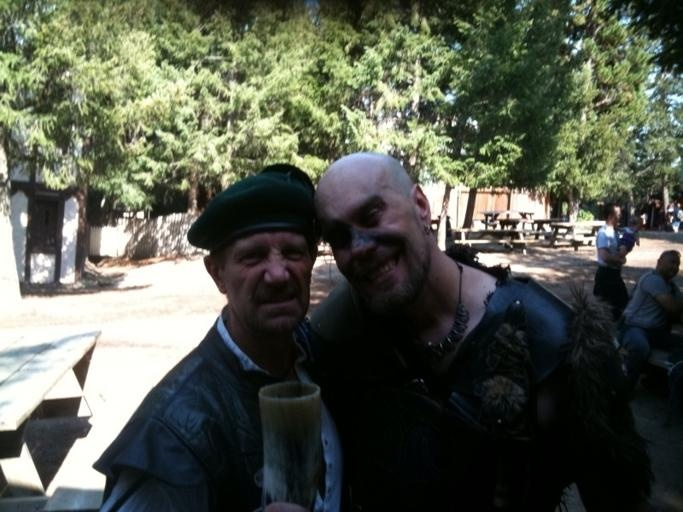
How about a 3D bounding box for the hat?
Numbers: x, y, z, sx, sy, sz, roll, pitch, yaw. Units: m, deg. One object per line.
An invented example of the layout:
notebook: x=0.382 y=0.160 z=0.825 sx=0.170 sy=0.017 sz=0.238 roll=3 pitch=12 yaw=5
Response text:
hat: x=-0.383 y=-0.090 z=2.227 sx=0.388 sy=0.211 sz=0.350 roll=-20 pitch=3 yaw=40
